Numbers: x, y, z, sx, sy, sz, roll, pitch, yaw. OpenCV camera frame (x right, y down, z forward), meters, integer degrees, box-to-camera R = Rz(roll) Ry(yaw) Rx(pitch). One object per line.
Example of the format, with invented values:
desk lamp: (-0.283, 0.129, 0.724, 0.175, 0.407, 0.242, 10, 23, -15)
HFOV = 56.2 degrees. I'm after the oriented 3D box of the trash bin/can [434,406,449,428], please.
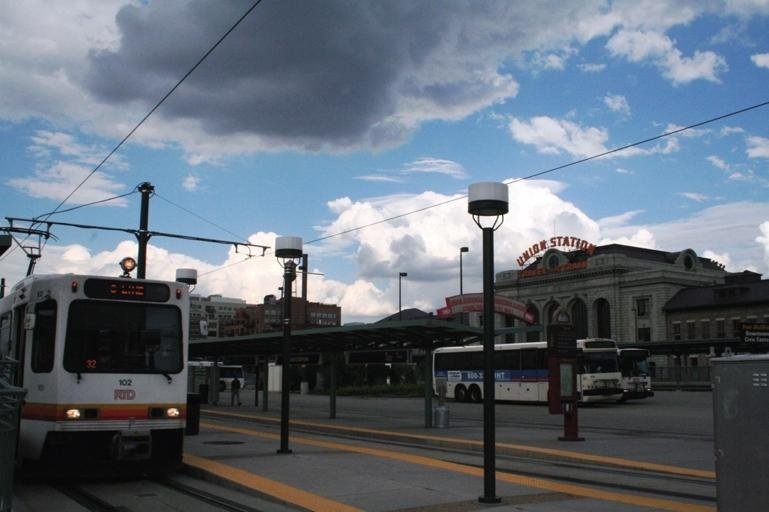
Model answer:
trash bin/can: (1.969, 5.462, 24.558, 0.439, 0.748, 0.409, 2, -11, -6)
